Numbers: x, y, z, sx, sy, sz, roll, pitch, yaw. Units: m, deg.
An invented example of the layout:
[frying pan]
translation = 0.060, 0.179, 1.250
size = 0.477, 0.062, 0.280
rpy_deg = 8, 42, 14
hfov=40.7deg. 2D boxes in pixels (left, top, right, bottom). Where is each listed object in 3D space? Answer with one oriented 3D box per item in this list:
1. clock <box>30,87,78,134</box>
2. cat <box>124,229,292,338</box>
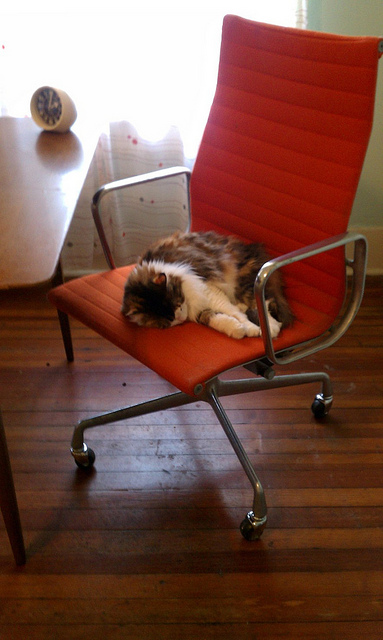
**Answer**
[clock]
translation = -0.413, -0.635, 1.556
size = 0.112, 0.106, 0.088
rpy_deg = 8, 20, 22
[cat]
translation = 0.016, -0.096, 1.217
size = 0.306, 0.124, 0.248
rpy_deg = -25, 51, -29
